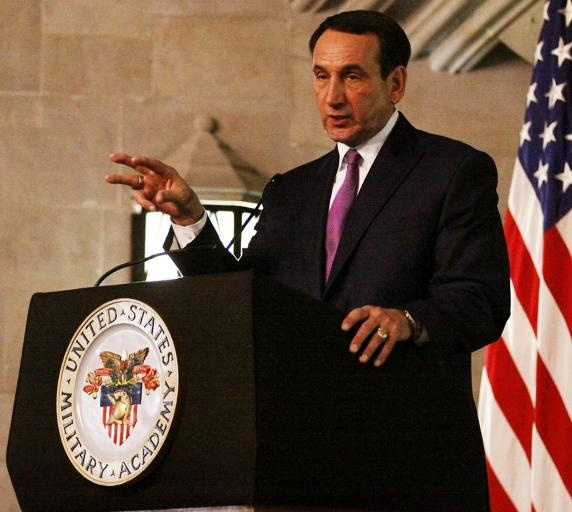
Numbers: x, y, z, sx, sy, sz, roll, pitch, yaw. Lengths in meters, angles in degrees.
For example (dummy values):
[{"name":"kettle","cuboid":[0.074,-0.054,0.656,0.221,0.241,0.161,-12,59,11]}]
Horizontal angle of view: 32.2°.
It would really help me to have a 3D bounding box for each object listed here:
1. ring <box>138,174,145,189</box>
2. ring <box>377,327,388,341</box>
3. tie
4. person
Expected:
[{"name":"ring","cuboid":[-0.358,-0.186,2.448,0.022,0.027,0.024,1,47,-1]},{"name":"ring","cuboid":[0.215,0.169,2.185,0.023,0.008,0.023,44,18,-18]},{"name":"tie","cuboid":[0.146,-0.120,2.560,0.060,0.039,0.427,-27,32,34]},{"name":"person","cuboid":[0.217,-0.120,2.508,0.886,0.862,0.828,19,30,35]}]
